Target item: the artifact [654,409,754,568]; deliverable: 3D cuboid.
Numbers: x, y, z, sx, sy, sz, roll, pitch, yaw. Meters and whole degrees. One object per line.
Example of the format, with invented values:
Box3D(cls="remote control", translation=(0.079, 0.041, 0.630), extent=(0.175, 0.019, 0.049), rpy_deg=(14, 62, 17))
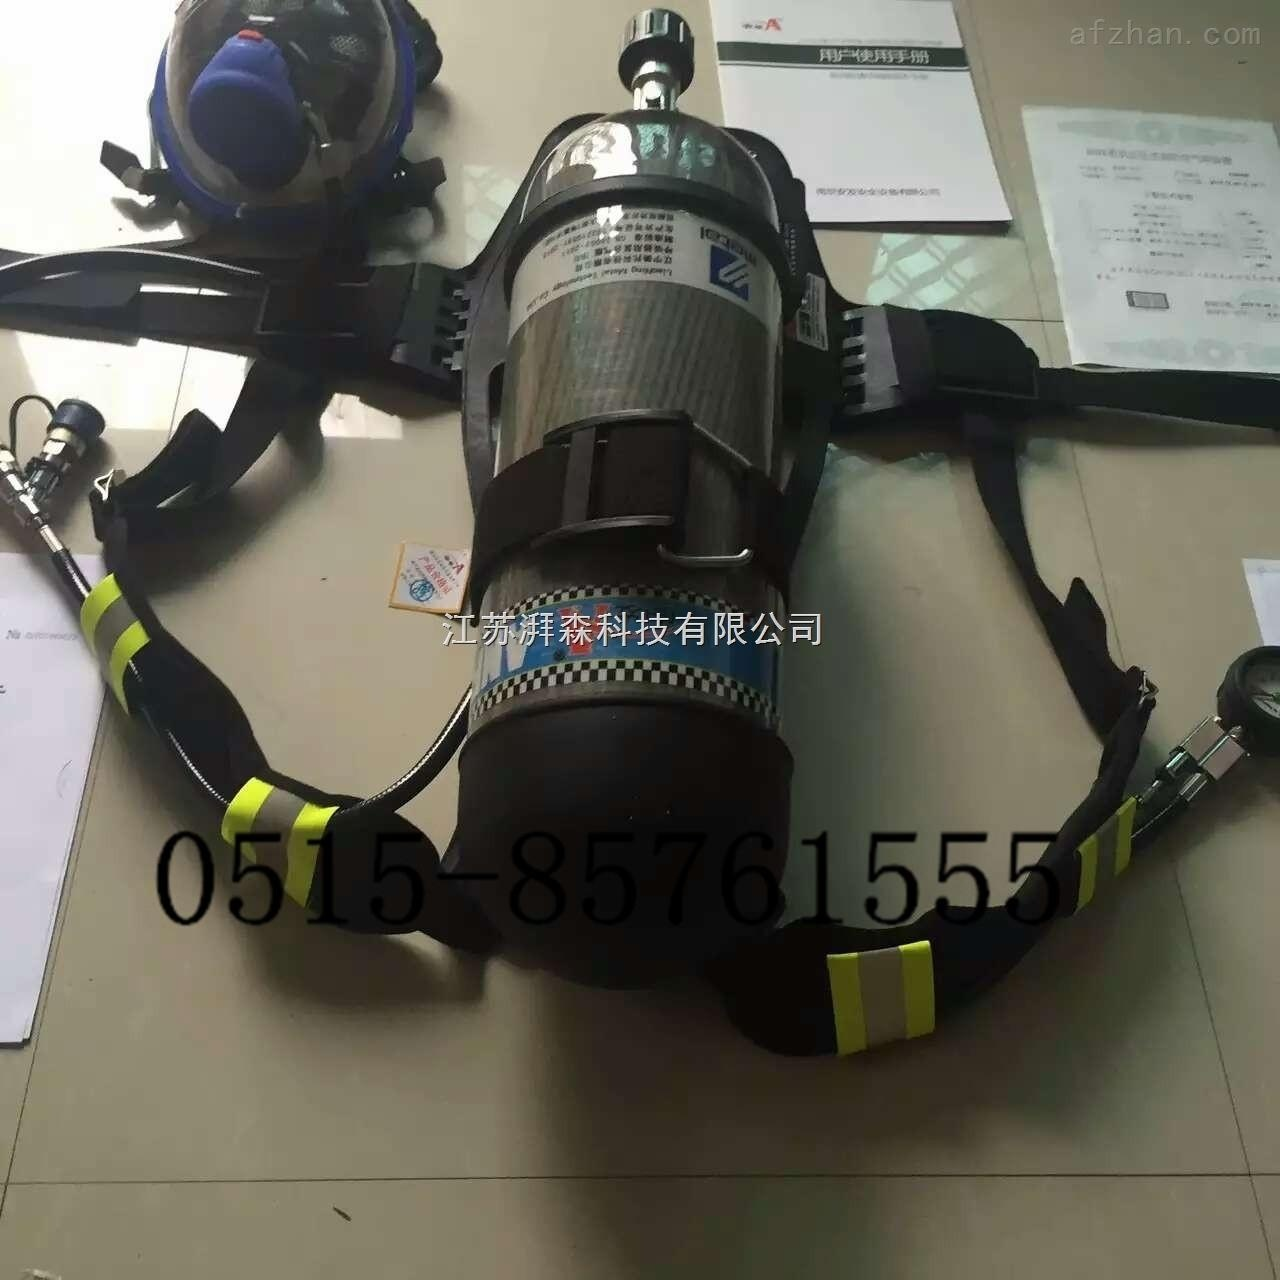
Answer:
Box3D(cls="artifact", translation=(0.045, -0.100, 0.927), extent=(0.051, 0.022, 0.103), rpy_deg=(-1, 76, 0))
